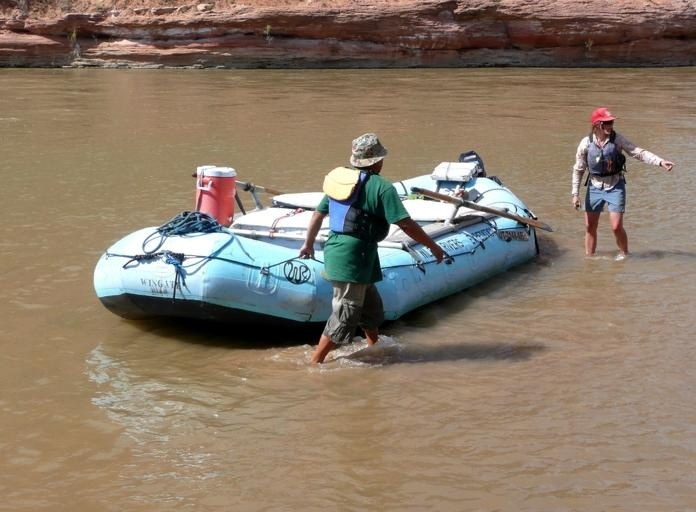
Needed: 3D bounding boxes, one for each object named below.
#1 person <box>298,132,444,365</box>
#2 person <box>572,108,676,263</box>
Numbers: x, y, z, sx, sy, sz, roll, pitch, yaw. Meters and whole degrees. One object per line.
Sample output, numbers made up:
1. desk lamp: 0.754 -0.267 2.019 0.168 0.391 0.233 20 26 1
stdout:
1. person: 0.146 -0.021 8.407 1.058 2.254 0.645 -4 22 -10
2. person: 3.177 -0.853 10.755 0.925 1.851 0.755 3 21 9
